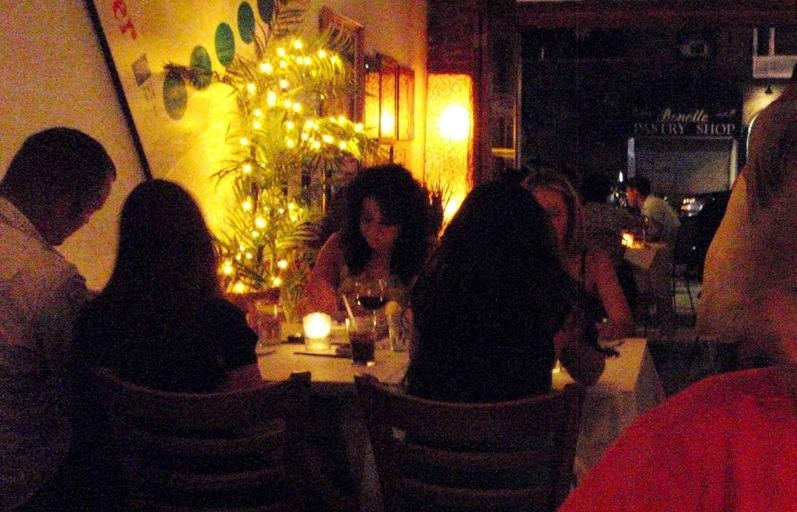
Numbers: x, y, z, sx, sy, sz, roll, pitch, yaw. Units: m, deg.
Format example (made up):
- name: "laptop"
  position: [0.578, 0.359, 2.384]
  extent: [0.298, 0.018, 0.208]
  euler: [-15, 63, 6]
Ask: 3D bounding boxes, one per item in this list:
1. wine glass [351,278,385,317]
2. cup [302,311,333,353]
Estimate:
- name: "wine glass"
  position: [-0.112, 0.156, 2.422]
  extent: [0.135, 0.137, 0.124]
  euler: [4, -7, -23]
- name: "cup"
  position: [-0.300, 0.297, 2.341]
  extent: [0.132, 0.137, 0.126]
  euler: [-1, -2, 0]
